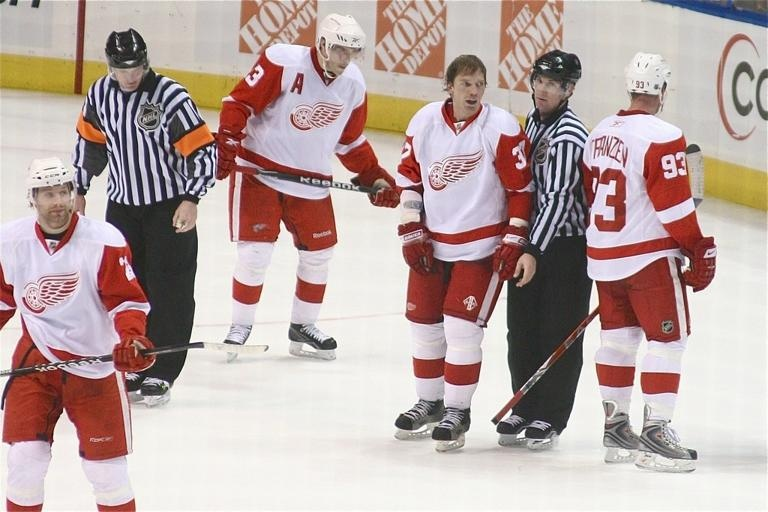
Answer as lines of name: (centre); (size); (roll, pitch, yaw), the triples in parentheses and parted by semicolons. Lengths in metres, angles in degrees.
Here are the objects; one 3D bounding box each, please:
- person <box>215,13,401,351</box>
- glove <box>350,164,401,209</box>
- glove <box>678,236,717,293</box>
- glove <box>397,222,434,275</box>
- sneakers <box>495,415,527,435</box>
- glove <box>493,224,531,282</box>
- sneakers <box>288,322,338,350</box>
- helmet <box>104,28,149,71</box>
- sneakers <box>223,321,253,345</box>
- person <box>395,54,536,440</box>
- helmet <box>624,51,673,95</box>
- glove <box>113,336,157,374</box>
person: (-0.434, -0.356, 5.703); (0.968, 1.937, 0.628); (4, 9, -1)
glove: (-0.016, -0.386, 5.736); (0.276, 0.207, 0.126); (37, 7, 12)
glove: (1.422, 0.038, 4.577); (0.134, 0.273, 0.266); (7, 9, 17)
glove: (0.154, -0.038, 4.838); (0.159, 0.233, 0.070); (-16, 4, 14)
sneakers: (0.616, 0.808, 4.872); (0.177, 0.063, 0.063); (-4, 13, -31)
glove: (0.592, -0.019, 4.727); (0.150, 0.265, 0.113); (7, 9, 15)
sneakers: (-0.424, 0.470, 5.997); (0.350, 0.145, 0.115); (6, 12, 21)
helmet: (-1.259, -1.022, 4.988); (0.184, 0.208, 0.222); (-11, 6, -13)
sneakers: (-0.815, 0.444, 5.811); (0.108, 0.118, 0.310); (23, 13, -5)
person: (0.349, -0.013, 4.802); (0.640, 1.846, 0.401); (5, 9, 1)
helmet: (1.226, -0.845, 4.669); (0.188, 0.193, 0.210); (8, 18, 20)
glove: (-0.969, 0.390, 3.919); (0.165, 0.167, 0.127); (6, 9, 9)
